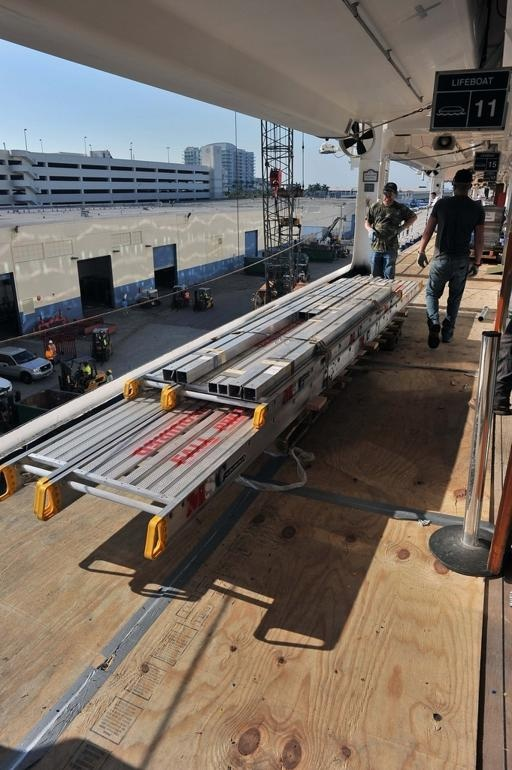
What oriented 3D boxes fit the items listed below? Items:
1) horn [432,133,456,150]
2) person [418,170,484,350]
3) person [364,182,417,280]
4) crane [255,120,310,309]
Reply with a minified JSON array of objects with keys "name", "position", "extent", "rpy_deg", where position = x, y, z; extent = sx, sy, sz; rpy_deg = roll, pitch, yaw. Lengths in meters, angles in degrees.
[{"name":"horn","position":[2.858,-3.752,7.313],"extent":[0.266,0.231,0.398],"rpy_deg":[1,18,17]},{"name":"person","position":[1.926,-1.347,5.281],"extent":[0.781,1.976,0.989],"rpy_deg":[2,6,21]},{"name":"person","position":[1.879,-2.172,6.761],"extent":[0.641,1.351,1.133],"rpy_deg":[0,18,15]},{"name":"crane","position":[1.318,-9.889,26.677],"extent":[2.234,9.233,13.714],"rpy_deg":[-3,17,6]}]
